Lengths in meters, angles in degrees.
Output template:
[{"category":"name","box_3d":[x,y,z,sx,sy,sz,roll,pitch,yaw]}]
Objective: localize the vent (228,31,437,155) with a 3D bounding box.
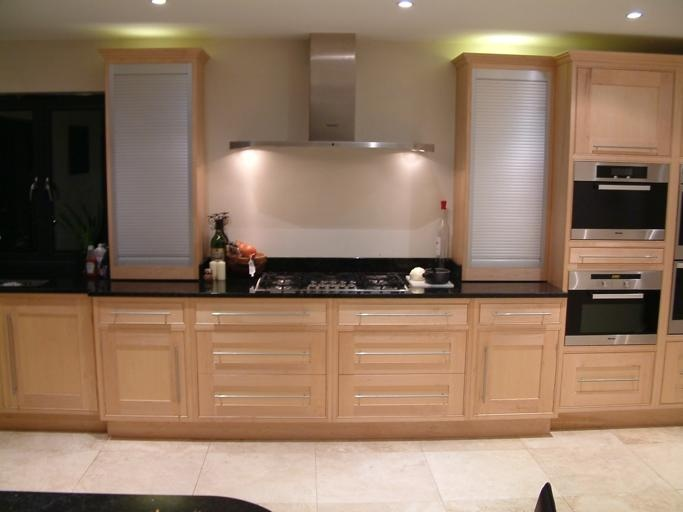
[{"category":"vent","box_3d":[-0.040,-1.250,4.301,1.621,0.834,0.520,5,22,14]}]

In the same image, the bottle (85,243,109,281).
[{"category":"bottle","box_3d":[-1.878,0.036,4.424,0.159,0.239,0.158,-1,9,0]}]

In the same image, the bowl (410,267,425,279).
[{"category":"bowl","box_3d":[0.576,0.129,4.331,0.103,0.062,0.094,1,1,7]}]

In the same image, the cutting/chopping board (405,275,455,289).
[{"category":"cutting/chopping board","box_3d":[0.645,0.200,4.274,0.393,0.052,0.239,2,8,19]}]

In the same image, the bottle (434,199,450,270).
[{"category":"bottle","box_3d":[0.809,-0.179,4.579,0.107,0.539,0.132,0,10,9]}]

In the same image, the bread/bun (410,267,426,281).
[{"category":"bread/bun","box_3d":[0.575,0.136,4.314,0.115,0.069,0.106,2,1,9]}]

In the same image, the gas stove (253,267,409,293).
[{"category":"gas stove","box_3d":[-0.072,0.204,4.264,1.136,0.067,0.598,0,8,0]}]
